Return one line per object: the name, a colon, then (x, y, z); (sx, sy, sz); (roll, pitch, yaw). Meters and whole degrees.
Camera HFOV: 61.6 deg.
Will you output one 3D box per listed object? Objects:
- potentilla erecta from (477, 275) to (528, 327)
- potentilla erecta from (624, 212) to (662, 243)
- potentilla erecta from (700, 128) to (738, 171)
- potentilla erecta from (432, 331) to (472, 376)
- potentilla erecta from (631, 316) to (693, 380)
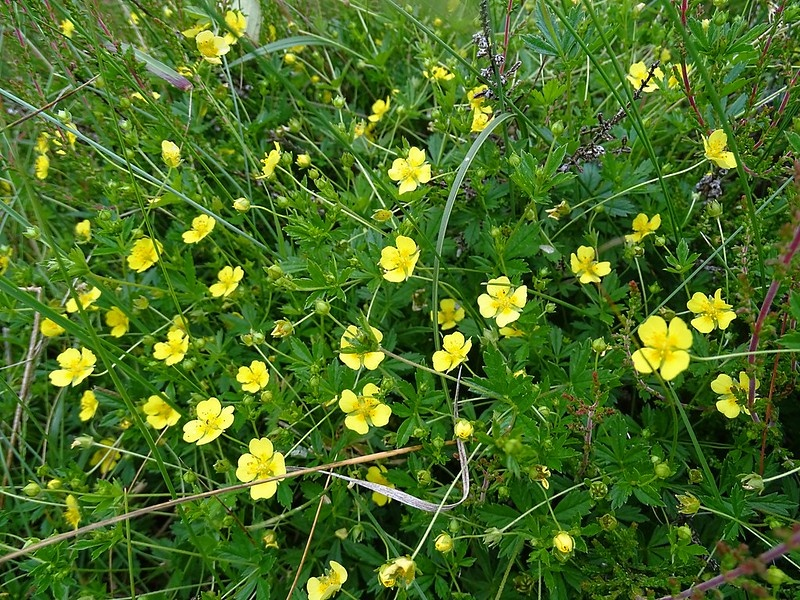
potentilla erecta: (0.358, 0.003, 2.380); (0.167, 0.089, 0.145); (30, 77, 33)
potentilla erecta: (0.933, -0.289, 2.628); (0.128, 0.066, 0.130); (39, 117, 53)
potentilla erecta: (1.208, -0.544, 2.545); (0.119, 0.204, 0.145); (10, 66, 27)
potentilla erecta: (0.207, 0.199, 2.456); (0.139, 0.069, 0.135); (-42, 59, 14)
potentilla erecta: (0.802, 0.143, 2.034); (0.177, 0.077, 0.214); (11, 93, 42)
